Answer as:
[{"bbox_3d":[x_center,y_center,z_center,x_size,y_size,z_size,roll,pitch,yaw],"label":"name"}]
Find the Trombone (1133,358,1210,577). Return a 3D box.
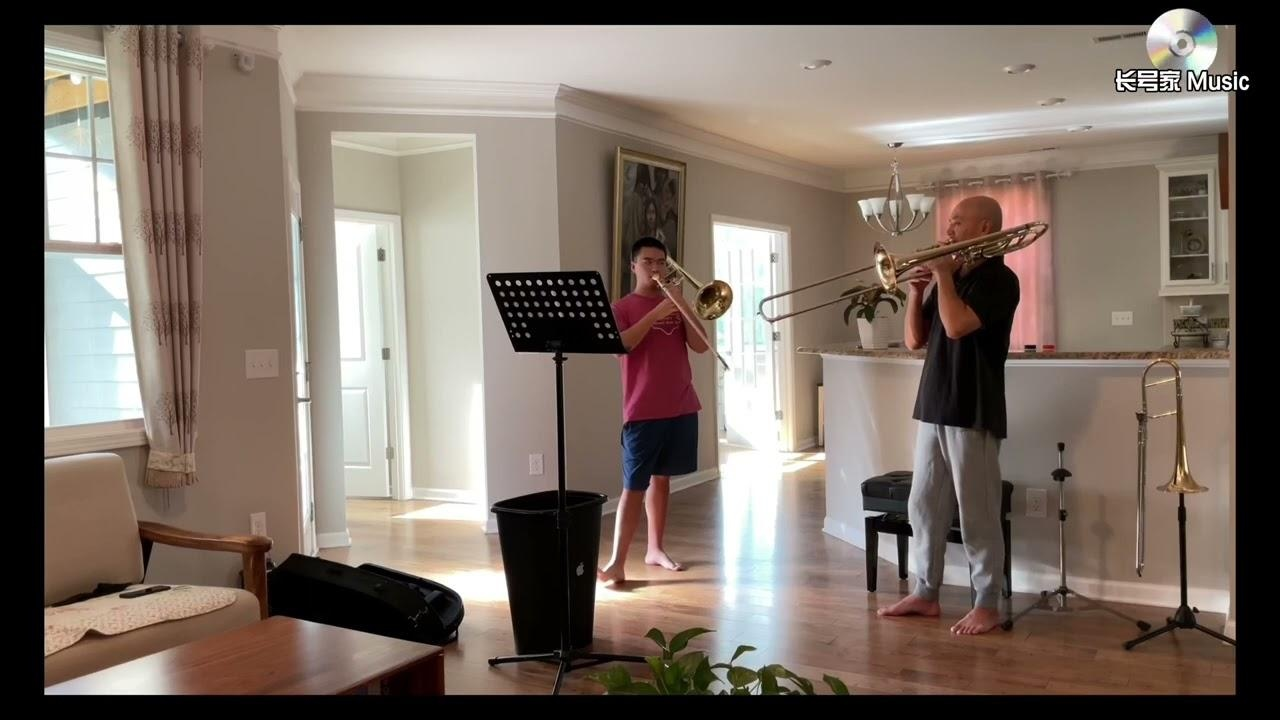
[{"bbox_3d":[2.466,0.533,4.059,0.294,1.078,0.594,4,13,30],"label":"Trombone"}]

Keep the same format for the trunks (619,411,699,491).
[{"bbox_3d":[0.091,0.461,4.778,0.471,0.373,0.263,-5,4,-37],"label":"trunks"}]

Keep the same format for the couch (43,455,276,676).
[{"bbox_3d":[-2.195,0.809,3.823,0.979,0.726,0.870,-3,-3,36],"label":"couch"}]

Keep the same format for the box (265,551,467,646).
[{"bbox_3d":[-1.412,1.124,4.350,1.055,0.293,0.497,11,-1,4],"label":"box"}]

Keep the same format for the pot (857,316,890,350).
[{"bbox_3d":[1.415,-0.161,5.336,0.220,0.149,0.189,-1,0,-1],"label":"pot"}]

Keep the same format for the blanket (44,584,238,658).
[{"bbox_3d":[-2.078,1.023,3.570,0.333,0.053,0.432,-2,3,41],"label":"blanket"}]

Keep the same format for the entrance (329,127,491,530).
[{"bbox_3d":[-1.701,-0.297,6.427,1.090,2.650,0.579,0,12,10],"label":"entrance"}]

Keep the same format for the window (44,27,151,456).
[{"bbox_3d":[-2.682,-0.636,4.128,0.458,1.845,0.321,-8,13,-26],"label":"window"}]
